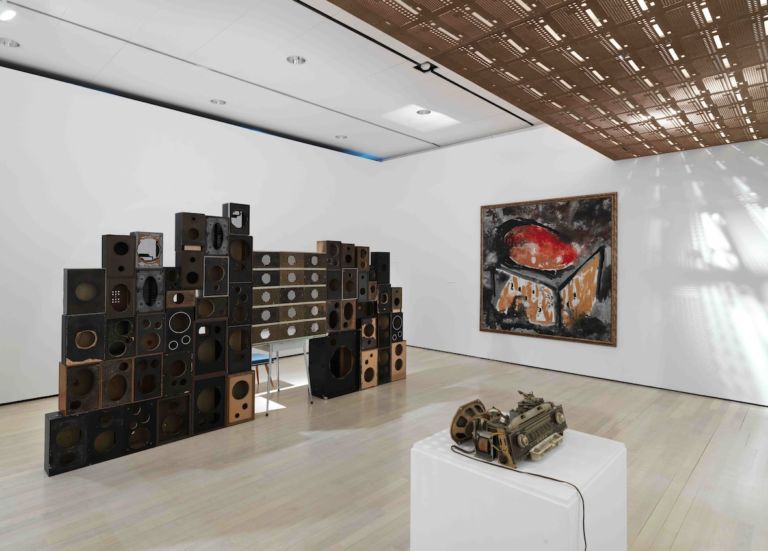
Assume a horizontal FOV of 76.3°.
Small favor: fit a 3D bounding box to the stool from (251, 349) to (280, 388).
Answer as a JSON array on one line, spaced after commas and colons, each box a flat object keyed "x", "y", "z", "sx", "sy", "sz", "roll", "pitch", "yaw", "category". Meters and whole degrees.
[{"x": -1.479, "y": 1.020, "z": 5.960, "sx": 0.228, "sy": 0.381, "sz": 0.255, "roll": -2, "pitch": 15, "yaw": 11, "category": "stool"}]

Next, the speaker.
[{"x": -1.888, "y": 0.423, "z": 5.272, "sx": 3.225, "sy": 2.340, "sz": 0.643, "roll": -8, "pitch": 15, "yaw": -35, "category": "speaker"}]
